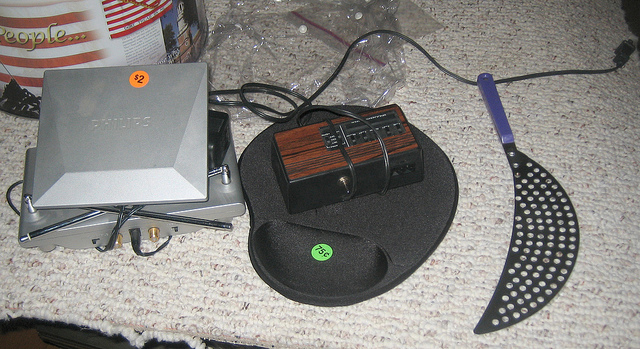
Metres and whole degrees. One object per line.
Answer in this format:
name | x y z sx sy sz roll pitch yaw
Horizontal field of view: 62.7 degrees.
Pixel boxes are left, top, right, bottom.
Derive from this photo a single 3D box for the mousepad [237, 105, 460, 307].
mousepad | 0.071 0.066 1.136 0.473 0.095 0.412 -6 79 -5
